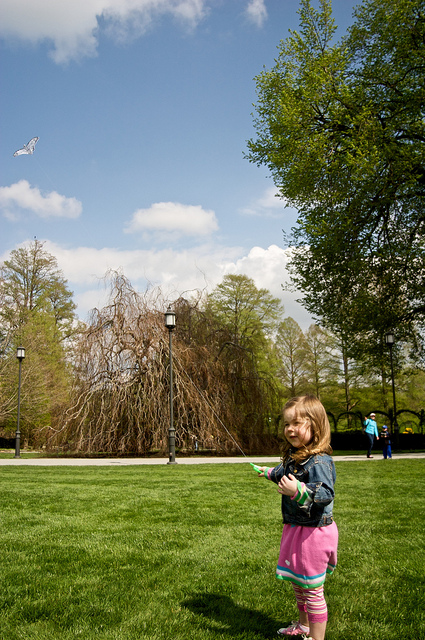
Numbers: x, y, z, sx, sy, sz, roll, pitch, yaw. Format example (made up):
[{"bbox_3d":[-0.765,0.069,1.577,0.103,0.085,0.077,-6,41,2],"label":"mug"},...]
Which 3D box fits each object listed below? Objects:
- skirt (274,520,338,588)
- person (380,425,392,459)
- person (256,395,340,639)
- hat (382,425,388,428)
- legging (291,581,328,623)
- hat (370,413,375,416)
[{"bbox_3d":[0.496,1.161,2.933,0.230,0.380,0.275,-4,11,-30],"label":"skirt"},{"bbox_3d":[5.054,3.528,16.303,0.249,0.878,2.283,-4,-9,16],"label":"person"},{"bbox_3d":[0.487,1.021,2.970,0.334,1.229,0.433,-2,-8,6],"label":"person"},{"bbox_3d":[5.085,3.161,16.584,0.110,0.071,0.111,-3,-3,23],"label":"hat"},{"bbox_3d":[0.474,1.413,2.841,0.116,0.178,0.211,2,-9,-24],"label":"legging"},{"bbox_3d":[4.585,2.708,16.019,0.110,0.061,0.111,-5,-6,44],"label":"hat"}]
